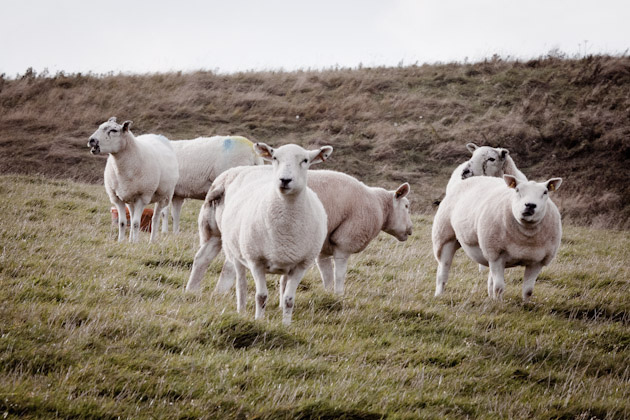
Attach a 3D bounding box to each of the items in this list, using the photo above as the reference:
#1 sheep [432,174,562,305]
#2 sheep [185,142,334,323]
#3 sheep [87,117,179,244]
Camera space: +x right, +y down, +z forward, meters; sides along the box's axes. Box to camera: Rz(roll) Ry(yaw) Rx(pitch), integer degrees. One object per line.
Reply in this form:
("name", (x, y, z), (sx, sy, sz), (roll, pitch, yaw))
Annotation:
("sheep", (4.043, 0.652, 19.160), (1.324, 2.838, 2.626), (0, 4, -41))
("sheep", (-1.190, 0.432, 18.018), (2.986, 3.632, 1.621), (5, 4, 41))
("sheep", (-4.724, -0.812, 22.019), (1.606, 3.037, 2.884), (3, 3, 17))
